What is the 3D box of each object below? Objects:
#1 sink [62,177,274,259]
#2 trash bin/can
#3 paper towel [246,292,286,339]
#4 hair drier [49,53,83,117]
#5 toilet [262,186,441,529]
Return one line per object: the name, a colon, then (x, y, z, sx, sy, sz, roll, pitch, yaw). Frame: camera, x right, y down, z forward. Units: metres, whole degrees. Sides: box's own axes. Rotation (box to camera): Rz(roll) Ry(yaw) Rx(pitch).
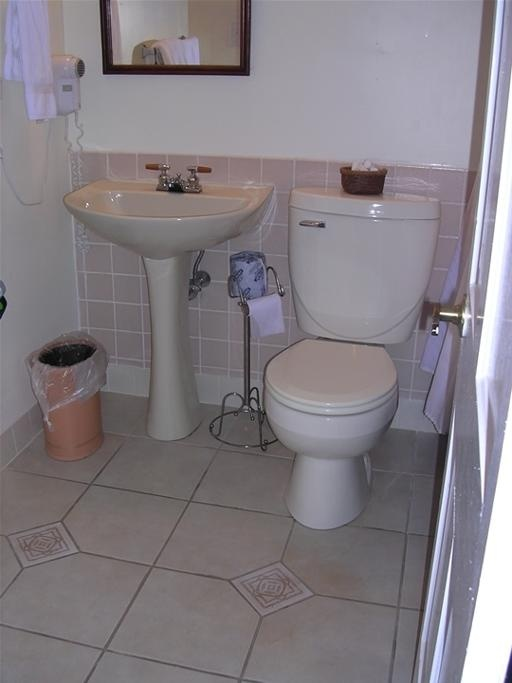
sink: (-0.292, -0.516, 1.930, 0.594, 0.312, 0.608, 5, 27, 5)
trash bin/can: (-0.652, 0.212, 2.041, 0.267, 0.459, 0.330, 8, 21, 18)
paper towel: (0.035, -0.105, 1.952, 0.098, 0.136, 0.072, -18, 32, -10)
hair drier: (-0.685, -0.930, 1.960, 0.109, 0.196, 0.090, -1, 10, 14)
toilet: (0.223, 0.106, 1.784, 0.494, 1.165, 0.682, 4, 22, 9)
